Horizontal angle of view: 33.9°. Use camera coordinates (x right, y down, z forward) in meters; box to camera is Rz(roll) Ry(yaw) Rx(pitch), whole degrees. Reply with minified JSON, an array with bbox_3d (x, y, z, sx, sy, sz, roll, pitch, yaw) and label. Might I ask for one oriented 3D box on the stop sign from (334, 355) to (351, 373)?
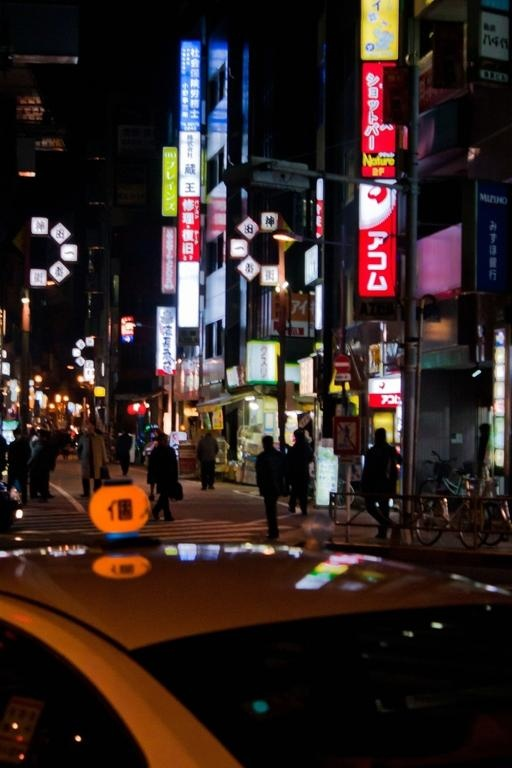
[{"bbox_3d":[2.062,-0.484,19.950,0.417,0.623,0.071,1,3,11],"label":"stop sign"}]
